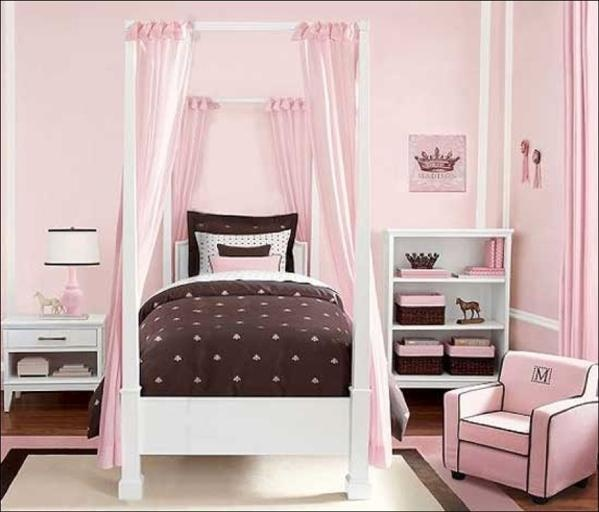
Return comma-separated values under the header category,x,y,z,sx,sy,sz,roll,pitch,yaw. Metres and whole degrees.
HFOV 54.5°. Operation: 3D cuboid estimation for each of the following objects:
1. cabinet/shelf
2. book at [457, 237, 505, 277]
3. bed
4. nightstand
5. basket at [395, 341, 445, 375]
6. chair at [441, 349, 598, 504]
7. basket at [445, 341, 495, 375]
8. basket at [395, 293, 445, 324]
category,x,y,z,sx,sy,sz,roll,pitch,yaw
cabinet/shelf,1.161,0.422,4.615,1.175,1.704,0.565,0,-2,1
book,1.478,0.036,4.701,0.274,0.345,0.343,0,-1,6
bed,-0.278,0.610,3.525,1.161,1.314,1.290,1,-3,-2
nightstand,-1.752,0.700,4.500,0.852,0.878,0.656,0,-5,-7
basket,0.937,0.805,4.650,0.275,0.185,0.289,0,-2,2
chair,1.189,0.825,3.216,0.723,0.789,0.674,6,-6,-42
basket,1.361,0.822,4.677,0.279,0.189,0.294,0,-3,4
basket,0.964,0.433,4.699,0.259,0.173,0.270,0,-4,-1
